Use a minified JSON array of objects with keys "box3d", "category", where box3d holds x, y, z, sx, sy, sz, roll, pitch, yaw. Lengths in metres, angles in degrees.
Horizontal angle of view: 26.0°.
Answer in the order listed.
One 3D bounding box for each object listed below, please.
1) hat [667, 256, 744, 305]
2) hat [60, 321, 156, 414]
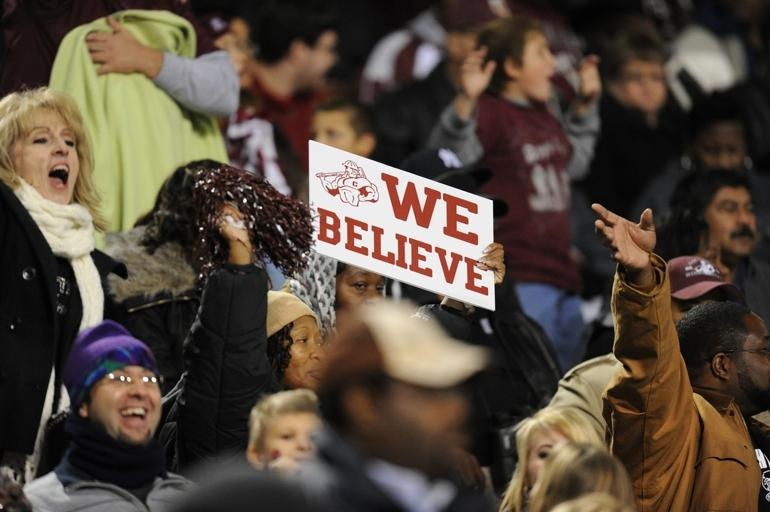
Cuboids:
[{"box3d":[2.073,0.156,10.902,0.341,0.221,0.439,0,2,-32],"category":"hat"},{"box3d":[-1.599,0.658,9.837,0.534,0.472,0.324,3,15,-12],"category":"hat"}]
